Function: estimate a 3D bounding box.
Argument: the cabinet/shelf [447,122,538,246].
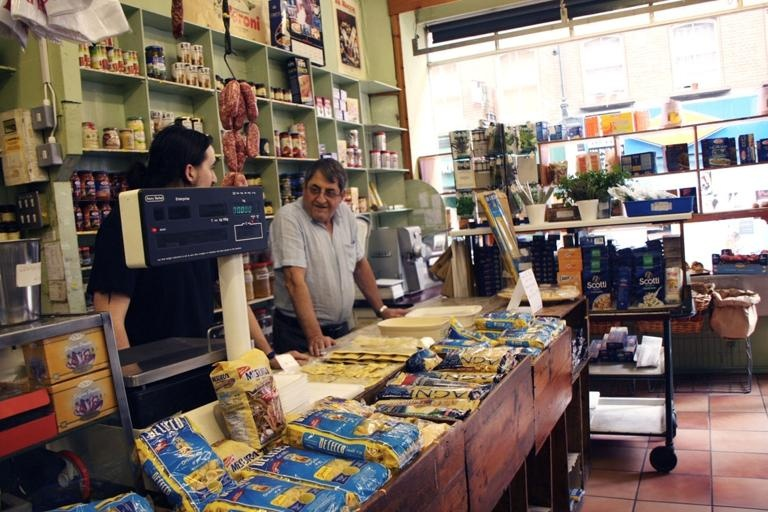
[{"bbox_3d":[0.858,-0.565,4.252,0.799,1.018,1.045,-2,4,13],"label":"cabinet/shelf"}]

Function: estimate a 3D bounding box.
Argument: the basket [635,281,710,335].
[{"bbox_3d":[3.067,0.606,5.322,0.780,0.434,0.990,-2,-3,14],"label":"basket"}]

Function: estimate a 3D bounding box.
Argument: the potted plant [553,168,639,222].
[{"bbox_3d":[1.607,-0.464,4.026,0.325,0.314,0.435,9,-13,-33],"label":"potted plant"}]

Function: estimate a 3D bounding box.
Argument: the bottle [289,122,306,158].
[{"bbox_3d":[-0.930,-1.199,5.427,0.211,0.330,0.219,1,13,0],"label":"bottle"}]

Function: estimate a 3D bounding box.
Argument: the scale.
[{"bbox_3d":[-0.485,0.127,1.672,0.206,0.634,0.687,-1,2,35],"label":"scale"}]

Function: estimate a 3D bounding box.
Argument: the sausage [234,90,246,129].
[{"bbox_3d":[-0.581,-0.589,2.063,0.039,0.120,0.065,5,-7,-19],"label":"sausage"}]

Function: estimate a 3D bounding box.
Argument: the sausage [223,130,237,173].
[{"bbox_3d":[-0.634,-0.408,2.057,0.033,0.145,0.097,-2,-6,20],"label":"sausage"}]

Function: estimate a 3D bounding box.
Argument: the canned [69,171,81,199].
[{"bbox_3d":[-2.088,-0.477,3.510,0.047,0.167,0.103,-7,5,1],"label":"canned"}]

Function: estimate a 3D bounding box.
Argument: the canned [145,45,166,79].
[{"bbox_3d":[-1.772,-1.512,4.028,0.159,0.236,0.164,14,20,37],"label":"canned"}]

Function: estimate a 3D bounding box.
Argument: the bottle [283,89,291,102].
[{"bbox_3d":[-0.997,-1.658,5.292,0.123,0.116,0.125,-2,25,-4],"label":"bottle"}]

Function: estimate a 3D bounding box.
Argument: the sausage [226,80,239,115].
[{"bbox_3d":[-0.595,-0.633,2.029,0.050,0.091,0.083,-8,5,-10],"label":"sausage"}]
